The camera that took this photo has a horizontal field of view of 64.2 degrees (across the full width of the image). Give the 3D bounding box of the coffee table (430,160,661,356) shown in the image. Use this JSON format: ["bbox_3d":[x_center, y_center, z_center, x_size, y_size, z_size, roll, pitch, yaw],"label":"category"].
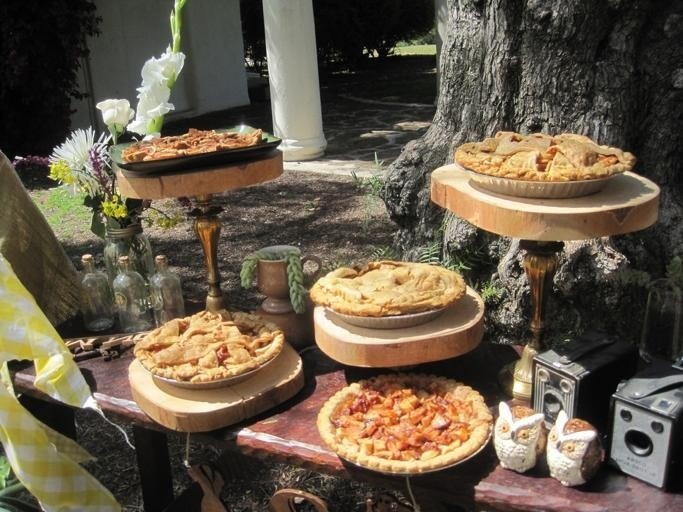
[{"bbox_3d":[0.671,0.020,1.802,0.712,0.407,0.605,13,11,35],"label":"coffee table"}]

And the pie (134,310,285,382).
[{"bbox_3d":[-0.557,0.314,1.967,0.370,0.053,0.328,-7,31,16],"label":"pie"}]

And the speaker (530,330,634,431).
[{"bbox_3d":[0.773,0.400,1.727,0.308,0.244,0.171,-18,23,-31],"label":"speaker"}]

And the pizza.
[{"bbox_3d":[0.244,0.481,1.736,0.518,0.433,0.087,17,51,9],"label":"pizza"}]

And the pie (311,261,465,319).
[{"bbox_3d":[0.179,0.103,1.903,0.458,0.049,0.460,13,27,31],"label":"pie"}]

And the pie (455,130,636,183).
[{"bbox_3d":[0.646,-0.310,1.724,0.393,0.061,0.334,-3,14,-10],"label":"pie"}]

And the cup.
[{"bbox_3d":[-0.214,0.104,2.222,0.310,0.219,0.177,-6,11,-19],"label":"cup"}]
